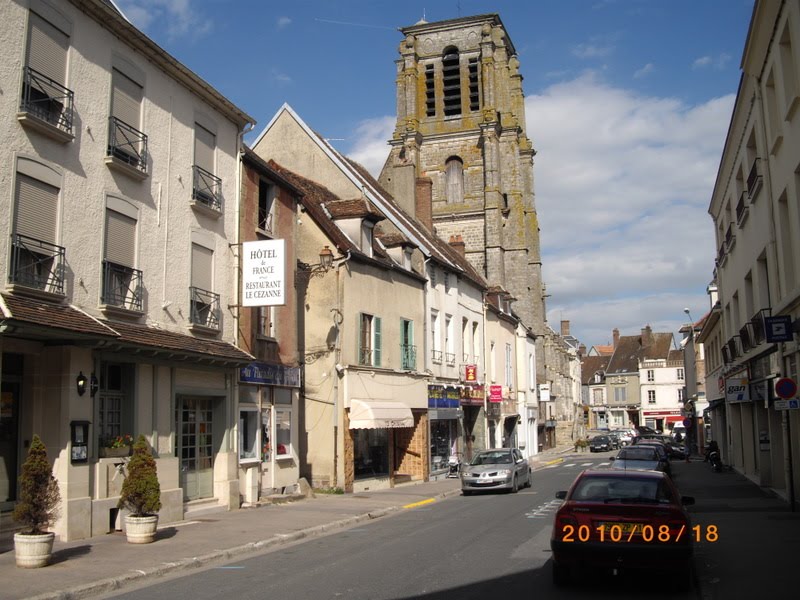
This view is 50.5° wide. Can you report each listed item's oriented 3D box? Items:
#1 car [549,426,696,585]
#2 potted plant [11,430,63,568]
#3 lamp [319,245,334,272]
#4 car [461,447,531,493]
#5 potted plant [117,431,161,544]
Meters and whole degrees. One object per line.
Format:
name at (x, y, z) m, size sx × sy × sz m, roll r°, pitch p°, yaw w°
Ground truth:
car at (3.902, 4.006, 14.845) m, size 2.279 × 2.102 × 1.567 m, roll -9°, pitch -15°, yaw 20°
potted plant at (-7.176, 3.993, 16.723) m, size 0.779 × 2.505 × 1.256 m, roll 3°, pitch -14°, yaw -25°
lamp at (-2.547, -1.376, 29.202) m, size 0.649 × 0.988 × 0.647 m, roll -2°, pitch 1°, yaw -8°
car at (3.520, 6.213, 30.803) m, size 1.802 × 1.706 × 2.943 m, roll -13°, pitch -17°, yaw 32°
potted plant at (-5.901, 4.333, 19.192) m, size 0.840 × 2.351 × 1.475 m, roll 2°, pitch -14°, yaw -19°
